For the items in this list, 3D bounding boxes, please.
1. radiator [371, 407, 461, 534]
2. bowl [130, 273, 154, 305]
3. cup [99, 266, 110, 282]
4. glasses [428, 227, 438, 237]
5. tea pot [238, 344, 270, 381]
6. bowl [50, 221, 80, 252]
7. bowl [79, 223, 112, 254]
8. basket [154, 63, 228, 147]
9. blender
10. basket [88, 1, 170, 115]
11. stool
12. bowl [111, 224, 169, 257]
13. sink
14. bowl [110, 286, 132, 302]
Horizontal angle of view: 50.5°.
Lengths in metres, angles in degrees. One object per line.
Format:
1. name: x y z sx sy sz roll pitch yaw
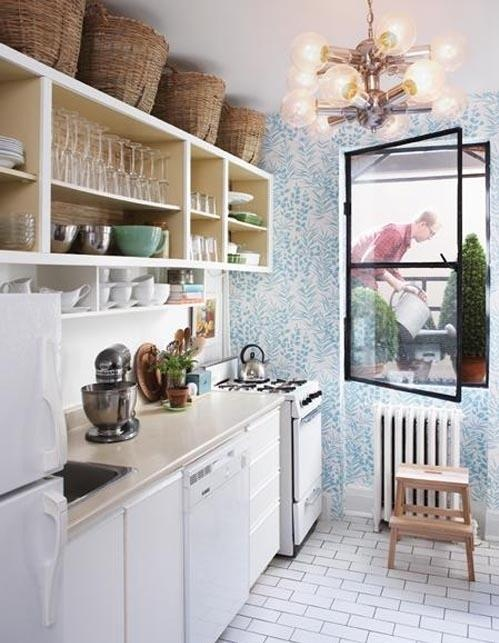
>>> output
1. radiator: 1.050 0.849 3.366 0.547 0.796 0.292 3 20 33
2. bowl: -0.441 -0.135 2.276 0.125 0.129 0.123 0 6 0
3. cup: -0.556 -0.178 2.019 0.054 0.055 0.053 1 5 0
4. glasses: 1.070 -0.517 3.060 0.039 0.043 0.036 9 -35 -15
5. tea pot: 0.028 0.276 3.502 0.173 0.231 0.238 -8 -13 36
6. bowl: -0.615 -0.280 1.715 0.101 0.070 0.095 -3 -2 0
7. bowl: -0.538 -0.284 1.851 0.047 0.104 0.134 2 5 32
8. basket: -0.252 -1.062 2.660 0.389 0.351 0.326 6 2 13
9. blender: -0.551 0.281 2.100 0.210 0.352 0.262 -1 4 -12
10. basket: -0.440 -0.982 1.986 0.346 0.324 0.169 -4 5 -37
11. stool: 1.039 1.072 2.970 0.433 0.513 0.577 1 4 22
12. bowl: -0.433 -0.326 2.153 0.184 0.087 0.150 3 -6 -40
13. sink: -0.510 0.503 1.721 0.217 0.086 0.254 4 5 25
14. bowl: -0.502 -0.107 2.060 0.071 0.050 0.063 -3 1 -5
